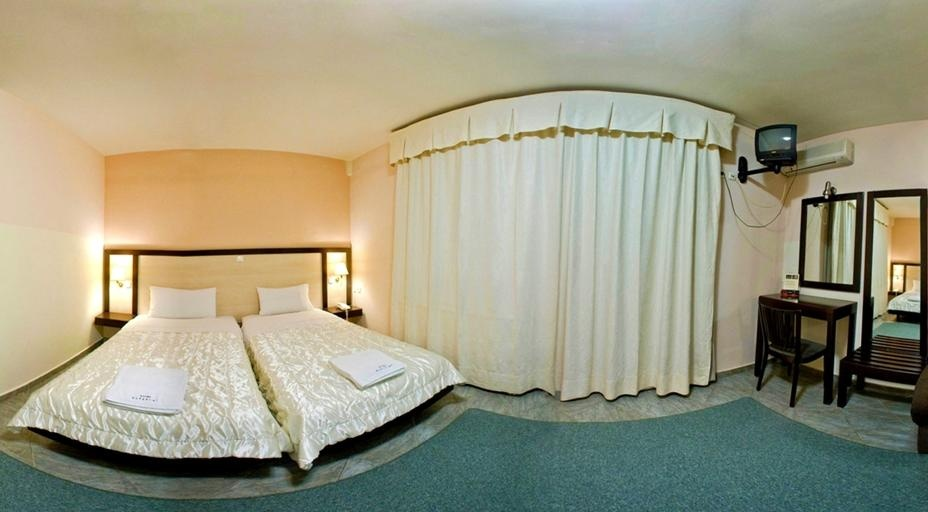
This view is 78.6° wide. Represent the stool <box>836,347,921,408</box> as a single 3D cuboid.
[{"bbox_3d":[5.481,1.418,7.485,0.783,0.486,1.078,-2,-1,27],"label":"stool"}]

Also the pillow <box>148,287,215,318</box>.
[{"bbox_3d":[-4.217,0.707,8.477,0.982,0.481,0.211,0,-6,-11],"label":"pillow"}]

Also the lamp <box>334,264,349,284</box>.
[{"bbox_3d":[-1.979,0.270,9.189,0.224,0.317,0.256,-3,3,-10],"label":"lamp"}]

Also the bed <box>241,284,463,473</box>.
[{"bbox_3d":[-1.986,1.529,7.548,1.727,0.751,2.499,-12,19,-44],"label":"bed"}]

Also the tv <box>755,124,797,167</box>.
[{"bbox_3d":[4.186,-1.526,7.766,0.536,0.495,0.492,-5,9,7],"label":"tv"}]

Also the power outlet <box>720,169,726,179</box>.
[{"bbox_3d":[3.608,-1.141,7.864,0.105,0.129,0.046,-4,5,-14],"label":"power outlet"}]

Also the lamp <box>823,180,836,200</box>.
[{"bbox_3d":[5.152,-0.931,8.020,0.148,0.247,0.180,4,30,25],"label":"lamp"}]

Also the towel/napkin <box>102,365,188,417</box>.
[{"bbox_3d":[-3.774,1.589,6.811,0.804,0.201,0.862,10,20,-20],"label":"towel/napkin"}]

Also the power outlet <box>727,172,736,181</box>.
[{"bbox_3d":[3.747,-1.114,7.947,0.171,0.115,0.007,-3,3,-13],"label":"power outlet"}]

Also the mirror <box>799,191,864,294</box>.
[{"bbox_3d":[5.201,-0.163,8.058,0.065,1.370,0.771,0,2,-44],"label":"mirror"}]

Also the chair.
[{"bbox_3d":[4.435,1.309,7.694,0.794,1.309,0.653,-1,4,32],"label":"chair"}]

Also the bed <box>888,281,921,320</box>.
[{"bbox_3d":[5.987,0.651,7.694,0.526,0.275,0.307,-15,6,-31],"label":"bed"}]

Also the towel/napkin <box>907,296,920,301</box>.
[{"bbox_3d":[6.074,0.570,7.631,0.019,0.071,0.077,16,-11,-39],"label":"towel/napkin"}]

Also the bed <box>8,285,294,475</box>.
[{"bbox_3d":[-3.749,1.577,7.315,2.093,0.737,2.149,2,17,-12],"label":"bed"}]
